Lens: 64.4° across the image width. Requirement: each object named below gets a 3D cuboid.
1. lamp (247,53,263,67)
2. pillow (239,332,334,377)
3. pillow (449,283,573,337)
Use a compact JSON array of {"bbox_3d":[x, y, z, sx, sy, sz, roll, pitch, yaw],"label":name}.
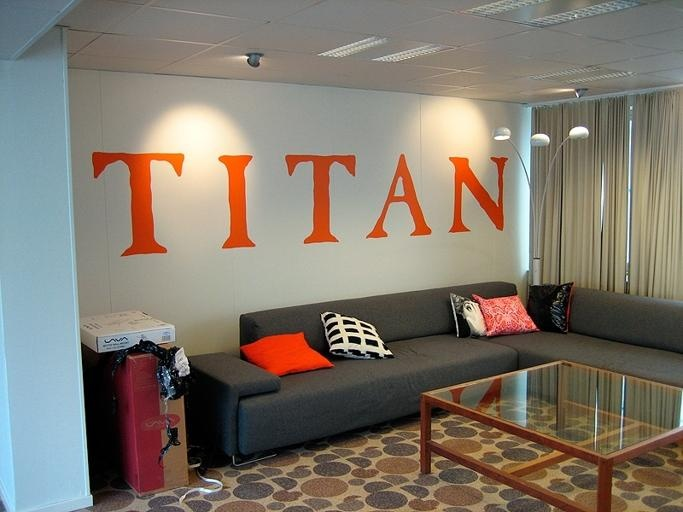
[{"bbox_3d":[-0.690,-1.541,4.288,0.100,0.043,0.094,-1,5,-13],"label":"lamp"},{"bbox_3d":[-0.481,0.867,4.779,0.655,0.263,0.511,-5,8,-31],"label":"pillow"},{"bbox_3d":[1.844,0.626,5.831,1.034,0.388,0.634,-10,43,16],"label":"pillow"}]
